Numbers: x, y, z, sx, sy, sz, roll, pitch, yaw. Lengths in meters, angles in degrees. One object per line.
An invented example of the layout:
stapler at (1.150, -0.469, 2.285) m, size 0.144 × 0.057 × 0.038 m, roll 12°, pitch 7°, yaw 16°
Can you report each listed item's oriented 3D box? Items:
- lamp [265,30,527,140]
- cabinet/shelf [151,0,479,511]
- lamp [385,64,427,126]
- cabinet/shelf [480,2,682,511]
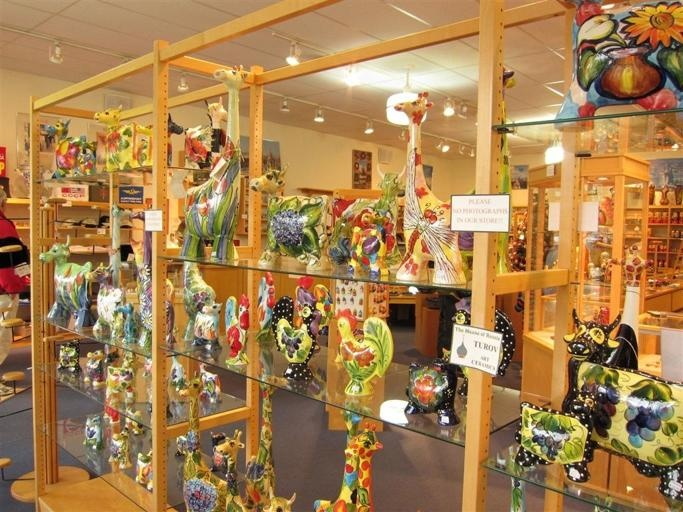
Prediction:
lamp at (0.507, -1.807, 5.638) m, size 1.821 × 0.454 × 1.637 m, roll 0°, pitch 2°, yaw -44°
cabinet/shelf at (-0.061, -0.165, 2.386) m, size 1.382 × 1.675 × 1.781 m, roll -2°, pitch 4°, yaw -17°
lamp at (0.459, -1.098, 3.744) m, size 0.192 × 0.301 × 0.199 m, roll 2°, pitch 4°, yaw 36°
cabinet/shelf at (1.095, 0.047, 2.579) m, size 0.590 × 1.693 × 2.249 m, roll 1°, pitch 5°, yaw 22°
